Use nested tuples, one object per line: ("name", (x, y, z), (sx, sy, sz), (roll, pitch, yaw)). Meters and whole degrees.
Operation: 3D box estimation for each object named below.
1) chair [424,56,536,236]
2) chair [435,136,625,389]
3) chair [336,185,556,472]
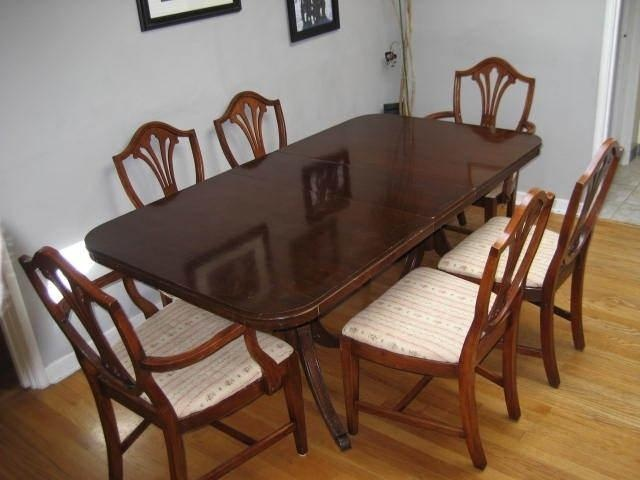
("chair", (1.203, -0.708, 3.685), (0.759, 1.157, 0.799), (-8, 22, -25))
("chair", (1.026, 0.132, 2.416), (0.719, 1.231, 0.660), (21, 48, 29))
("chair", (0.528, 0.280, 2.105), (0.715, 1.154, 0.696), (8, 29, 29))
